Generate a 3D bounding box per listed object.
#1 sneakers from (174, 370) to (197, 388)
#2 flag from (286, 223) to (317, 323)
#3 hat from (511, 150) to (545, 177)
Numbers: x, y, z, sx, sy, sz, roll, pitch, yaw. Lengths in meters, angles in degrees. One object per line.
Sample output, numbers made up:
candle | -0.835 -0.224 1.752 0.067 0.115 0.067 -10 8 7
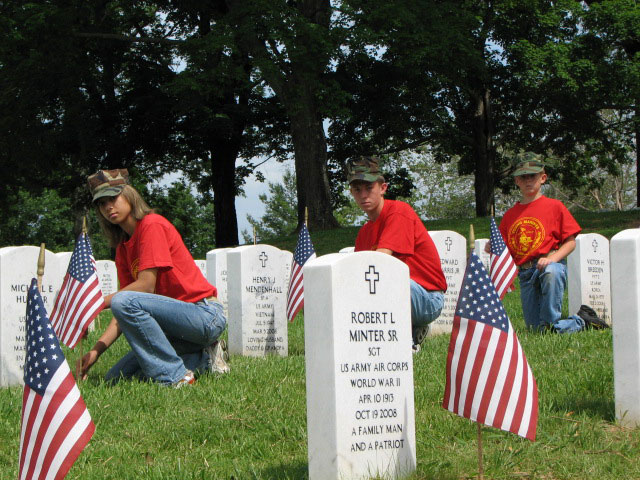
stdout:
sneakers | -2.243 2.286 17.147 0.408 0.262 0.153 -1 -4 -34
flag | -0.400 0.587 19.673 0.466 1.859 0.996 -3 -3 5
hat | 3.853 -1.401 19.136 0.559 0.438 0.370 -4 -4 12
